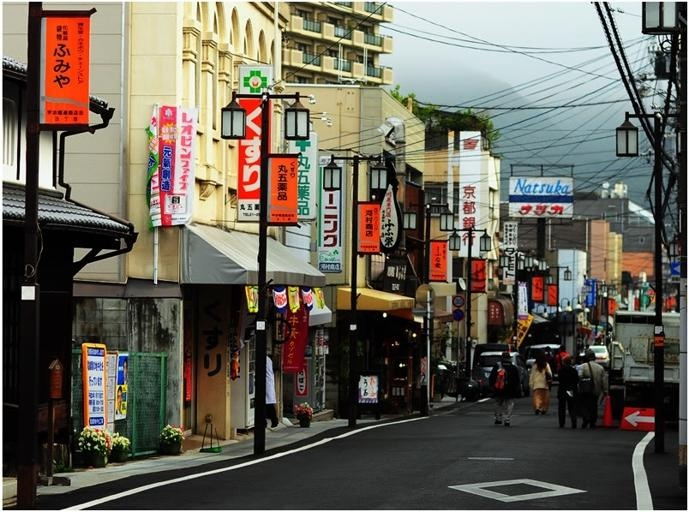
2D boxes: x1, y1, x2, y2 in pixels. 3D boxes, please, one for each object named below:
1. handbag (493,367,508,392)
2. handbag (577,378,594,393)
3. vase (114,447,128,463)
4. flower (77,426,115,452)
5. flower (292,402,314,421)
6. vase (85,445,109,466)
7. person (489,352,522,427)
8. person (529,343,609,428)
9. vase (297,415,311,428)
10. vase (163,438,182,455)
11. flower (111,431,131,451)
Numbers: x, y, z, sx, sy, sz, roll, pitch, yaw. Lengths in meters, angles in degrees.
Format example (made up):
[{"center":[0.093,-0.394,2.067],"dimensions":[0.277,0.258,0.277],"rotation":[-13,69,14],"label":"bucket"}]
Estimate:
[{"center":[4.421,3.419,35.279],"dimensions":[0.449,0.883,1.054],"rotation":[2,0,8],"label":"handbag"},{"center":[6.880,3.612,35.511],"dimensions":[0.400,0.424,0.408],"rotation":[0,-5,-5],"label":"handbag"},{"center":[-4.733,4.067,26.153],"dimensions":[0.356,0.309,0.308],"rotation":[1,-7,-8],"label":"vase"},{"center":[-5.151,3.659,25.475],"dimensions":[0.462,0.422,0.572],"rotation":[4,-6,-11],"label":"flower"},{"center":[-1.217,4.503,36.943],"dimensions":[0.548,0.510,0.566],"rotation":[3,-7,-11],"label":"flower"},{"center":[-5.061,3.994,25.335],"dimensions":[0.336,0.336,0.434],"rotation":[-4,-7,34],"label":"vase"},{"center":[4.460,3.698,35.421],"dimensions":[0.786,2.071,1.135],"rotation":[-1,-3,36],"label":"person"},{"center":[6.765,3.804,36.150],"dimensions":[1.061,2.744,1.269],"rotation":[-1,-2,28],"label":"person"},{"center":[-1.219,4.776,36.699],"dimensions":[0.353,0.371,0.372],"rotation":[0,-7,9],"label":"vase"},{"center":[-3.908,4.217,28.082],"dimensions":[0.311,0.238,0.334],"rotation":[4,-3,-37],"label":"vase"},{"center":[-4.753,3.809,26.103],"dimensions":[0.342,0.276,0.362],"rotation":[21,5,39],"label":"flower"}]
